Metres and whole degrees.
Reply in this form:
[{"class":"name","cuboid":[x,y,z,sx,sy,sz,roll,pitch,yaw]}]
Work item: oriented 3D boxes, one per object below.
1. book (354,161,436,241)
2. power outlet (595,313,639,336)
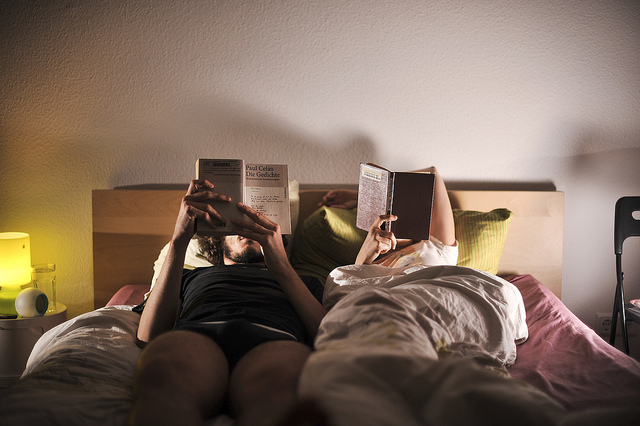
[{"class":"book","cuboid":[0.374,-0.071,2.124,0.416,0.360,0.106,7,8,4]},{"class":"power outlet","cuboid":[1.888,0.679,2.757,0.288,0.159,0.145,-1,10,15]}]
